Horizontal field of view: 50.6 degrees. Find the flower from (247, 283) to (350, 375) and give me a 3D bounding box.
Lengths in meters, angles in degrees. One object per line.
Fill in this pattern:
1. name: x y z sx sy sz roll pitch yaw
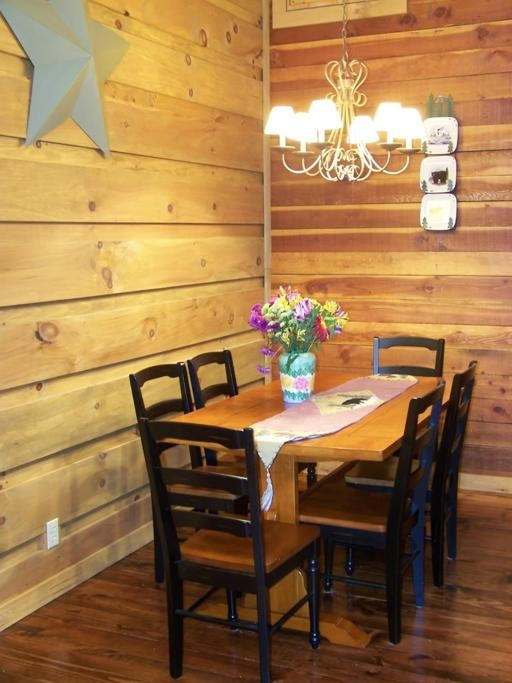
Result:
1. flower: 0.129 -0.059 2.047 0.367 0.303 0.371 2 5 32
